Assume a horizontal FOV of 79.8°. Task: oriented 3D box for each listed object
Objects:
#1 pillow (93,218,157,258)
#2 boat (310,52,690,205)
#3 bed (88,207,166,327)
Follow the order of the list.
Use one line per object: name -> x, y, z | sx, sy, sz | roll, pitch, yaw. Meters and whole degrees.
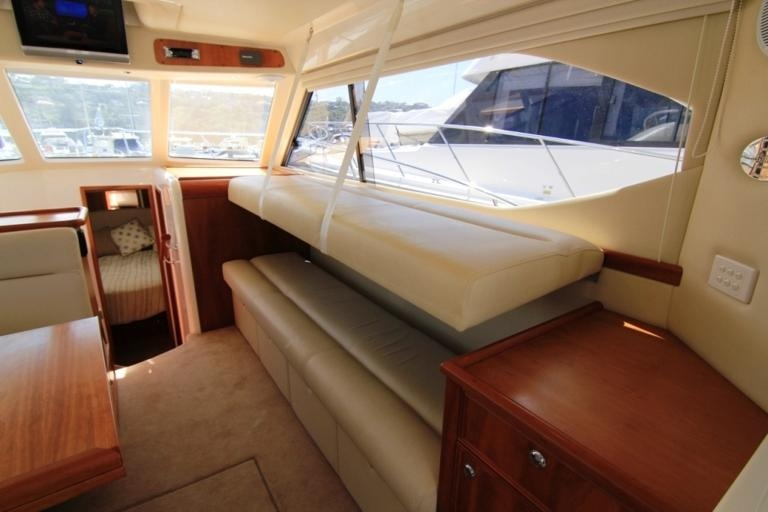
pillow -> -3.407, -0.235, 5.966 | 0.682, 0.453, 0.198 | -7, -6, -28
boat -> 0.751, -0.868, 3.040 | 2.265, 0.550, 0.472 | 23, 38, 34
bed -> -3.172, 0.104, 5.751 | 0.689, 1.174, 1.273 | -11, 25, -30
